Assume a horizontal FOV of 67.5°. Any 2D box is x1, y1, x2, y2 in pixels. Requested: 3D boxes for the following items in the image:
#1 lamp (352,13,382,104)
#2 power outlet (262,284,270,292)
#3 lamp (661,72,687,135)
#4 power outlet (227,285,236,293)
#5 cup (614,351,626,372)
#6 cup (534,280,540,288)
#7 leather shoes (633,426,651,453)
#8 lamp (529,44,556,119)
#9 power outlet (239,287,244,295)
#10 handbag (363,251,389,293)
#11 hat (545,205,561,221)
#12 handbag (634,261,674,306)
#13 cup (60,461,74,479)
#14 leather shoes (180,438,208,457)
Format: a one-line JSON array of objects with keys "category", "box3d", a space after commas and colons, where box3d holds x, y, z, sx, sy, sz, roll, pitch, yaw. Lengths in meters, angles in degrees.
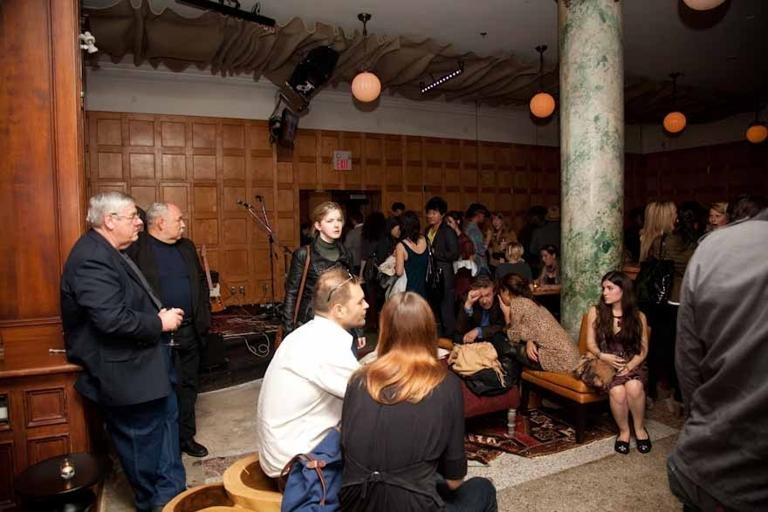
[{"category": "lamp", "box3d": [-0.269, -2.769, 8.138, 0.414, 1.158, 0.419, -6, 23, -12]}, {"category": "power outlet", "box3d": [-2.185, 0.579, 10.559, 0.122, 0.131, 0.033, 1, -1, -13]}, {"category": "lamp", "box3d": [5.687, -2.954, 11.178, 0.392, 1.007, 2.782, 5, 14, 26]}, {"category": "power outlet", "box3d": [-2.723, 0.591, 10.362, 0.123, 0.124, 0.033, -6, 14, -21]}, {"category": "cup", "box3d": [2.254, 1.011, 5.478, 0.090, 0.155, 0.160, -1, -12, 4]}, {"category": "cup", "box3d": [2.171, 0.393, 8.155, 0.097, 0.108, 0.098, 1, -15, 0]}, {"category": "leather shoes", "box3d": [2.444, 1.732, 5.446, 0.090, 0.068, 0.260, -7, 20, 11]}, {"category": "lamp", "box3d": [2.733, -2.925, 9.833, 0.413, 1.046, 2.277, 3, 13, 15]}, {"category": "power outlet", "box3d": [-2.568, 0.639, 10.390, 0.090, 0.127, 0.044, 4, -3, -17]}, {"category": "handbag", "box3d": [-0.104, 0.203, 8.210, 0.333, 0.666, 0.442, 11, -18, -39]}, {"category": "hat", "box3d": [2.672, -0.683, 9.084, 0.222, 0.226, 0.230, 0, -1, 2]}, {"category": "handbag", "box3d": [2.925, 0.307, 6.191, 0.196, 0.517, 0.378, 10, 1, -37]}, {"category": "cup", "box3d": [-2.299, 1.546, 4.165, 0.101, 0.121, 0.106, -1, -8, 0]}, {"category": "leather shoes", "box3d": [-1.786, 1.801, 5.434, 0.307, 0.137, 0.117, 4, 3, 11]}]
